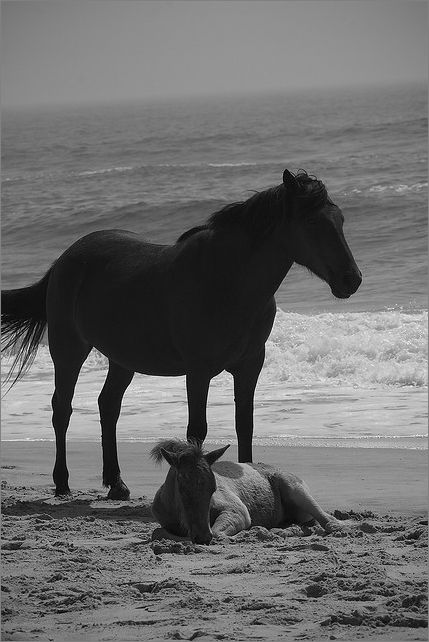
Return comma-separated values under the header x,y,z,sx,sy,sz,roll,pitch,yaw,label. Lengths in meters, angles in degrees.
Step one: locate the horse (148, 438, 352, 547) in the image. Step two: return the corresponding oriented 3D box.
x,y,z,sx,sy,sz,roll,pitch,yaw,label
0.149,0.958,5.186,1.084,0.477,0.710,0,0,-37,horse
